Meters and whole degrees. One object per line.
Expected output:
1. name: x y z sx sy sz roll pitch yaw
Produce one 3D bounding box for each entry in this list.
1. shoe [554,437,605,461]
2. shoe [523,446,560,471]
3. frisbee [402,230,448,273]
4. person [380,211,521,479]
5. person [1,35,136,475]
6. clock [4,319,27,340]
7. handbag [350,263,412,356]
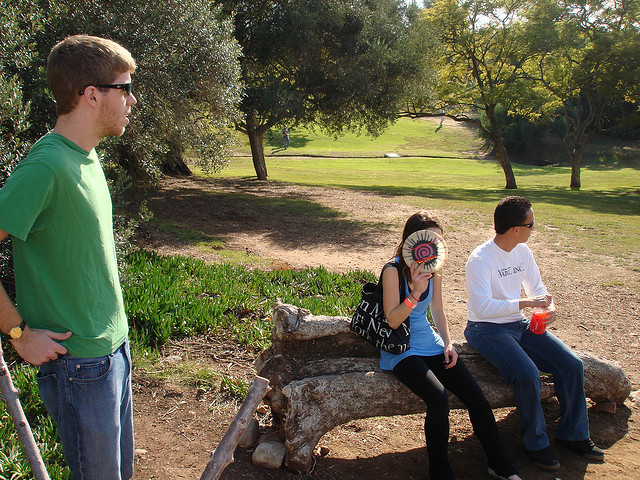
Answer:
1. shoe: 2.523 1.999 5.489 0.416 0.196 0.162 12 7 30
2. shoe: 2.111 2.060 5.402 0.127 0.170 0.359 -6 5 -23
3. frisbee: 0.968 0.104 5.248 0.413 0.386 0.245 -2 6 5
4. person: 1.112 0.996 5.248 0.868 2.485 1.040 -6 7 -34
5. person: -1.689 0.198 3.889 0.901 3.173 0.434 -4 6 -21
6. clock: -1.994 0.588 3.761 0.097 0.114 0.190 -1 6 9
7. handbag: 0.584 0.598 5.348 0.623 0.903 0.309 22 27 40
